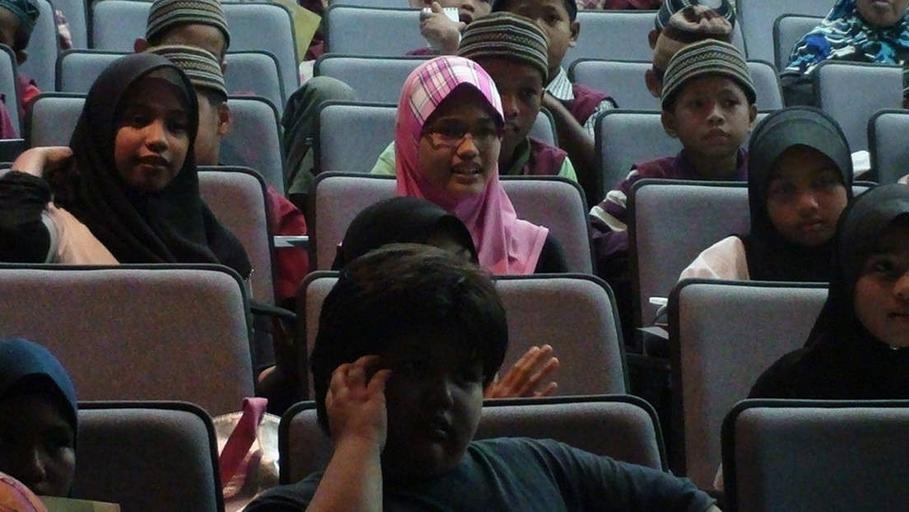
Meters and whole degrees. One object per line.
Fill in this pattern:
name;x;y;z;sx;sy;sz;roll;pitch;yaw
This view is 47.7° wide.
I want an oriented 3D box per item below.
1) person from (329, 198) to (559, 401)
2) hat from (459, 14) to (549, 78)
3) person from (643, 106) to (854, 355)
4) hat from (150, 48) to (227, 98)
person;-0.238;0.189;3.898;0.897;0.784;0.849;5;-11;-40
hat;0.248;-1.094;5.150;0.443;0.266;0.464;7;7;22
person;1.238;-0.091;4.327;1.100;0.737;0.487;4;-16;5
hat;-1.269;-0.905;4.945;0.333;0.161;0.252;4;1;-33
